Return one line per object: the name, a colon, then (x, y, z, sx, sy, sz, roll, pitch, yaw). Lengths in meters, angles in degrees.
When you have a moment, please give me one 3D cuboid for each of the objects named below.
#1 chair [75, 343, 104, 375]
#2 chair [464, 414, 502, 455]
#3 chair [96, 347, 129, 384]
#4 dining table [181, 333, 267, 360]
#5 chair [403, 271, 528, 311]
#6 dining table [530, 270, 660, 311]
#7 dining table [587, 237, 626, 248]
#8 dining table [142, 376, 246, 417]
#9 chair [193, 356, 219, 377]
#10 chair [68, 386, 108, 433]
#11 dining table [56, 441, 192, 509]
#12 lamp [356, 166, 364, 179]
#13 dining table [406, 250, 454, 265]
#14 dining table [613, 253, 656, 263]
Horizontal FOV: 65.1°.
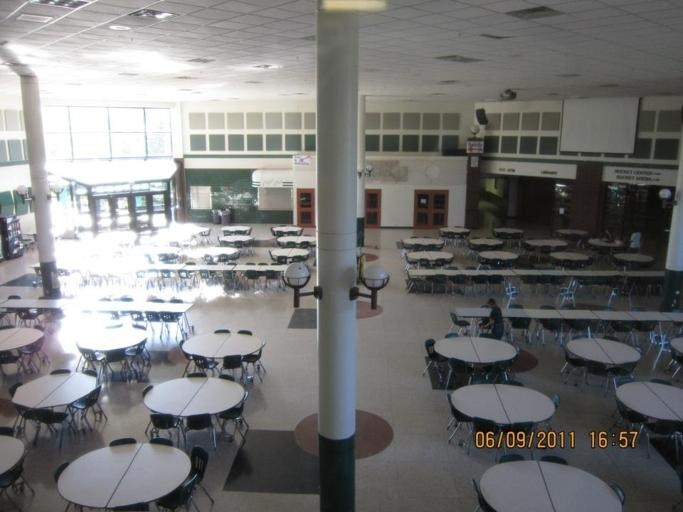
chair: (-6.873, 2.840, 14.635, 0.623, 0.933, 0.688, 9, 25, 0)
chair: (3.125, 3.824, 11.809, 0.707, 1.105, 1.246, 0, 12, 11)
chair: (-6.266, 2.994, 14.603, 0.791, 1.047, 0.777, -2, 31, -15)
dining table: (-3.218, 2.675, 14.528, 2.143, 0.746, 1.498, -1, 11, 5)
chair: (4.506, 0.995, 20.743, 3.977, 1.162, 2.256, -1, 11, 5)
dining table: (9.843, 1.594, 20.556, 4.566, 0.997, 1.494, 0, 23, 9)
dining table: (11.819, -0.531, 23.867, 1.455, 0.367, 1.315, 1, 11, 15)
dining table: (-3.380, 3.271, 12.281, 2.257, 0.436, 1.574, -3, 11, -7)
chair: (-3.568, 2.894, 14.047, 0.490, 0.742, 0.517, 9, 35, 12)
chair: (-6.108, 3.700, 12.771, 0.765, 0.970, 0.636, 20, 28, 14)
dining table: (-4.088, 4.129, 10.077, 2.312, 0.399, 1.541, -3, 11, -5)
lamp: (0.897, -3.812, 24.390, 0.153, 0.444, 0.671, 0, 12, 13)
dining table: (3.688, 0.209, 22.493, 1.911, 0.632, 1.190, -1, 11, 7)
dining table: (11.912, 0.154, 21.829, 1.237, 0.317, 1.305, -5, 11, -13)
